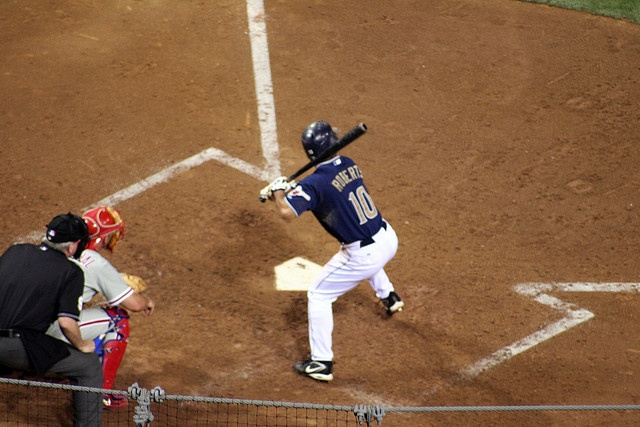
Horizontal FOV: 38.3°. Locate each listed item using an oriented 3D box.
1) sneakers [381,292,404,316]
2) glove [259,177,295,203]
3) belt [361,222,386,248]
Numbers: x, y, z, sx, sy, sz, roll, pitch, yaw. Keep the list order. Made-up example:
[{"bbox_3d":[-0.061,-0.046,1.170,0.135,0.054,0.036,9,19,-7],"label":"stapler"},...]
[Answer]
[{"bbox_3d":[1.123,1.394,14.158,0.227,0.480,0.218,-34,89,-1],"label":"sneakers"},{"bbox_3d":[-0.657,-0.347,13.447,0.444,0.380,0.115,-31,108,2],"label":"glove"},{"bbox_3d":[0.815,0.342,13.445,0.409,0.293,0.143,-28,100,-9],"label":"belt"}]
